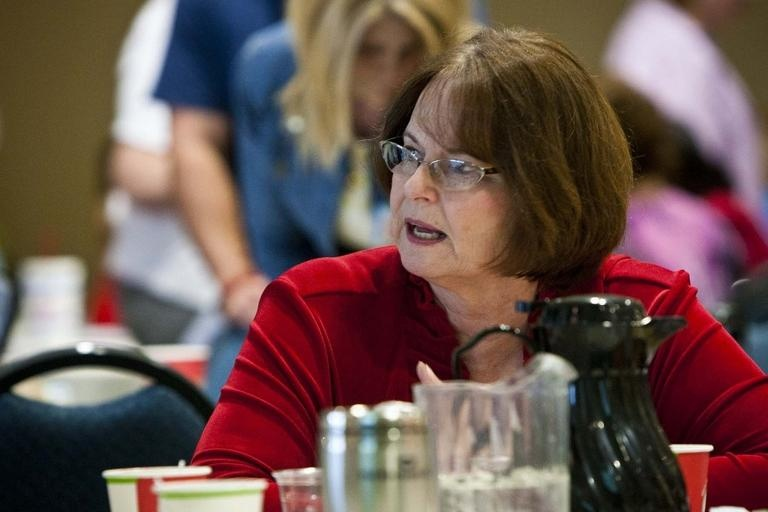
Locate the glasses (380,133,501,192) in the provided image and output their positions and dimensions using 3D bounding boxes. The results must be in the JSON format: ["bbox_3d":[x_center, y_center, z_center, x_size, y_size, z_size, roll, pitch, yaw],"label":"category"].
[{"bbox_3d":[0.100,-0.211,2.392,0.280,0.108,0.118,7,25,35],"label":"glasses"}]
